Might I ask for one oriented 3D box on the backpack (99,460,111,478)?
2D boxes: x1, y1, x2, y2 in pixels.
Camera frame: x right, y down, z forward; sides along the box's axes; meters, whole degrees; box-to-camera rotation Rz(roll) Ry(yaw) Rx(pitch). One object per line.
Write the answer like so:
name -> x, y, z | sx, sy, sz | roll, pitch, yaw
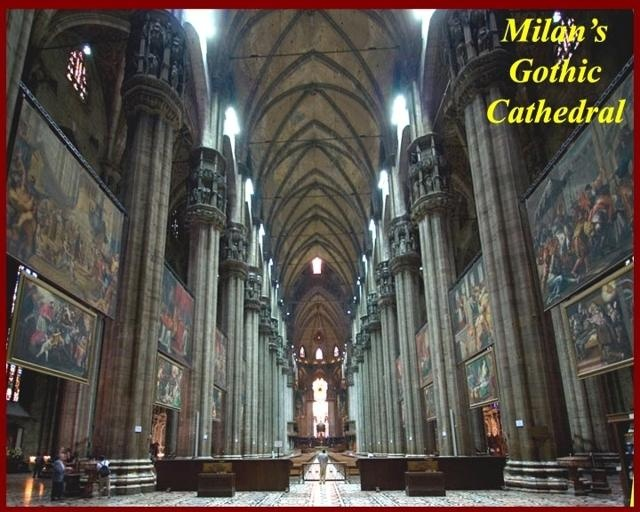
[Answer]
backpack -> -5.138, 5.083, 10.892 | 0.240, 0.392, 0.393 | 9, -28, -22
